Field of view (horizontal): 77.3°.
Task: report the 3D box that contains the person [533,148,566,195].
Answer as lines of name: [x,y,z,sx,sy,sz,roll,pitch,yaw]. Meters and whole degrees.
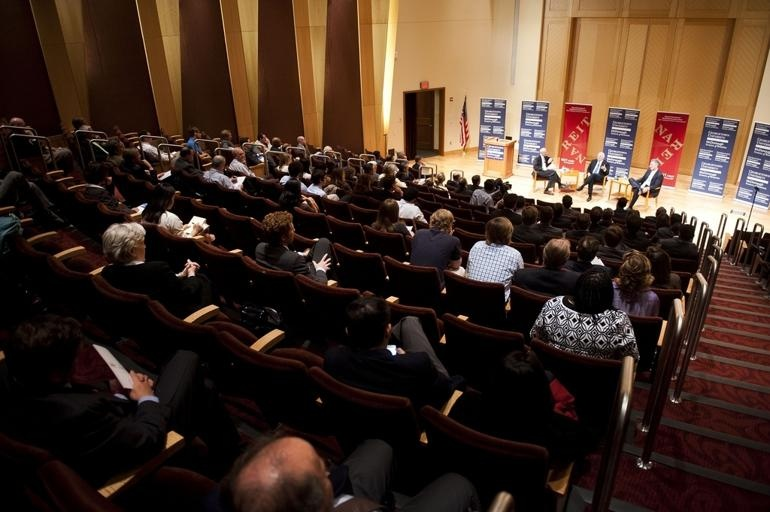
person: [4.714,-2.450,13.832,0.830,1.180,0.801,12,23,24]

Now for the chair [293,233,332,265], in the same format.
chair: [-0.793,-0.068,5.326,0.165,0.407,0.241,15,68,34]

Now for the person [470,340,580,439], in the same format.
person: [0.979,0.818,3.296,0.664,0.733,0.483,15,29,28]

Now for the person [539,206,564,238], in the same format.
person: [2.593,-0.519,7.498,0.315,0.868,0.288,13,60,20]

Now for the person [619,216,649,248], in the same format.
person: [3.833,-0.367,7.437,0.326,0.725,0.368,9,46,27]

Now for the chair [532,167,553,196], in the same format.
chair: [4.539,-2.141,13.844,0.523,0.813,0.510,-10,27,-14]

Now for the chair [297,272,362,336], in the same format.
chair: [-0.517,0.442,4.328,0.330,0.463,0.375,20,34,27]

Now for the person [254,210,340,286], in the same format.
person: [-0.929,-0.071,5.166,0.384,0.804,0.475,23,57,16]

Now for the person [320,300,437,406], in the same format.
person: [-0.016,0.702,3.457,0.398,1.040,0.622,0,57,17]

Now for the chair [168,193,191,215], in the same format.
chair: [-2.697,-0.669,6.332,0.191,0.270,0.227,25,40,21]

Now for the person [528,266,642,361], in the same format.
person: [1.629,0.479,3.863,0.434,0.742,0.400,17,52,27]

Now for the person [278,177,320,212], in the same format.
person: [-1.156,-0.814,6.591,0.330,0.453,0.747,11,23,20]

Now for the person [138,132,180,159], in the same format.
person: [-5.244,-2.560,11.210,0.782,0.557,1.465,-7,29,-31]

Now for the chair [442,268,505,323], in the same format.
chair: [0.890,0.371,4.731,0.456,0.680,0.535,16,36,30]

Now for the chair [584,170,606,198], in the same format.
chair: [5.757,-1.965,13.266,0.642,0.786,0.559,-22,29,-40]

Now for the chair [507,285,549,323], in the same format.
chair: [1.281,0.474,4.398,0.269,0.394,0.325,23,36,32]

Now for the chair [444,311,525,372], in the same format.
chair: [0.793,0.684,3.815,0.271,0.398,0.310,22,39,34]

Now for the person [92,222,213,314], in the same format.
person: [-2.166,0.125,4.560,0.366,0.877,0.517,19,48,11]

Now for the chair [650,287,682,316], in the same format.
chair: [2.460,0.399,4.232,0.130,0.231,0.168,20,50,40]

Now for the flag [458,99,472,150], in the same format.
flag: [2.980,-4.875,17.879,0.297,1.939,0.777,11,22,23]

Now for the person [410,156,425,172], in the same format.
person: [0.888,-2.546,13.241,0.275,0.448,0.783,4,22,2]

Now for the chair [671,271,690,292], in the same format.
chair: [3.156,0.272,5.147,0.134,0.188,0.145,21,39,40]

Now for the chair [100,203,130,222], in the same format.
chair: [-3.287,-0.526,5.866,0.128,0.229,0.139,34,47,15]

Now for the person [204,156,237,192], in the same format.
person: [-2.789,-1.434,8.079,0.696,0.501,0.357,17,13,22]

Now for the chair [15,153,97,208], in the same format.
chair: [-5.063,-1.164,7.387,0.650,0.881,0.761,25,40,5]

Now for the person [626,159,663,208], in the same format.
person: [6.639,-1.843,12.297,0.664,1.168,1.044,21,27,40]
